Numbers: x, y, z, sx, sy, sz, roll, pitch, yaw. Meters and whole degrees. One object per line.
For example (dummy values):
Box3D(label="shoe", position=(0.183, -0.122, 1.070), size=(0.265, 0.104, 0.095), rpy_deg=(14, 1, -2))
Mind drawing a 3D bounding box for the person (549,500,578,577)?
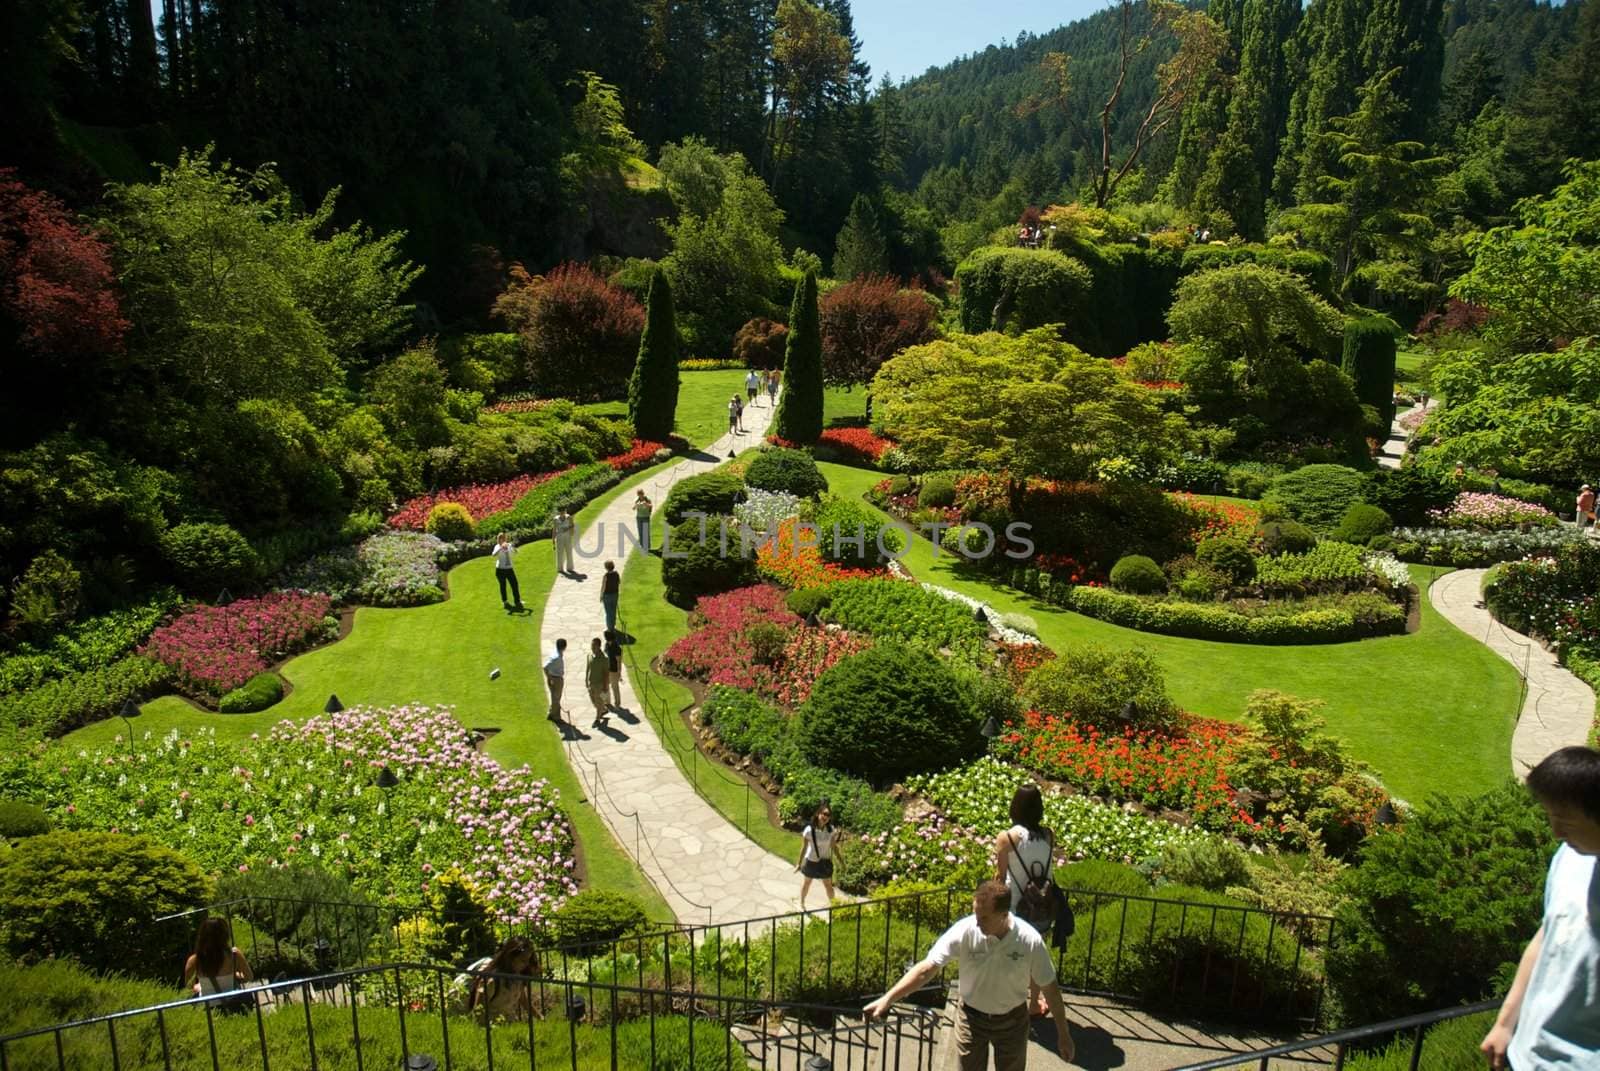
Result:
Box3D(label="person", position=(-6.371, 0.171, 46.858), size=(0.547, 1.558, 1.597), rpy_deg=(-2, 19, -9))

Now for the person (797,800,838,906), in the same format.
Box3D(label="person", position=(0.319, 6.485, 34.910), size=(0.699, 1.595, 1.277), rpy_deg=(1, 19, 0))

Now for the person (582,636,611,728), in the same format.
Box3D(label="person", position=(-4.667, 3.428, 39.909), size=(0.522, 1.780, 0.978), rpy_deg=(-2, 19, -9))
